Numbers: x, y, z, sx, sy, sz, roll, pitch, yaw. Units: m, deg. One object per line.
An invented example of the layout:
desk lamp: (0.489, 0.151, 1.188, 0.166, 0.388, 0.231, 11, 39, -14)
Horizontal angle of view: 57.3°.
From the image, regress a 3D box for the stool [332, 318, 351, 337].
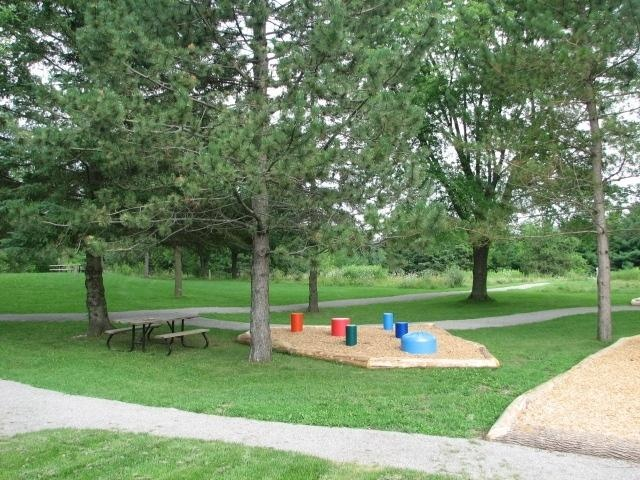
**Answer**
stool: (0.647, 2.767, 18.585, 0.556, 0.537, 0.536, 1, -2, 1)

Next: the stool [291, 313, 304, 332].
stool: (-0.755, 2.752, 19.613, 0.510, 0.592, 0.515, 1, 0, 0)

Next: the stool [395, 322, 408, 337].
stool: (2.584, 2.776, 18.042, 0.414, 0.466, 0.411, 6, -12, -28)

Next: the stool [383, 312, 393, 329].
stool: (2.305, 2.779, 19.875, 0.324, 0.553, 0.496, 0, -2, 1)

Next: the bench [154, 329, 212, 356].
bench: (-4.154, 2.951, 17.710, 1.536, 0.580, 3.852, 0, -3, -12)

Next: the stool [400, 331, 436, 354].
stool: (2.738, 2.814, 15.949, 0.622, 0.328, 0.620, 1, -4, -23)

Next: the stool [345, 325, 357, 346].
stool: (0.896, 2.795, 17.098, 0.265, 0.587, 0.149, 0, -1, -8)
